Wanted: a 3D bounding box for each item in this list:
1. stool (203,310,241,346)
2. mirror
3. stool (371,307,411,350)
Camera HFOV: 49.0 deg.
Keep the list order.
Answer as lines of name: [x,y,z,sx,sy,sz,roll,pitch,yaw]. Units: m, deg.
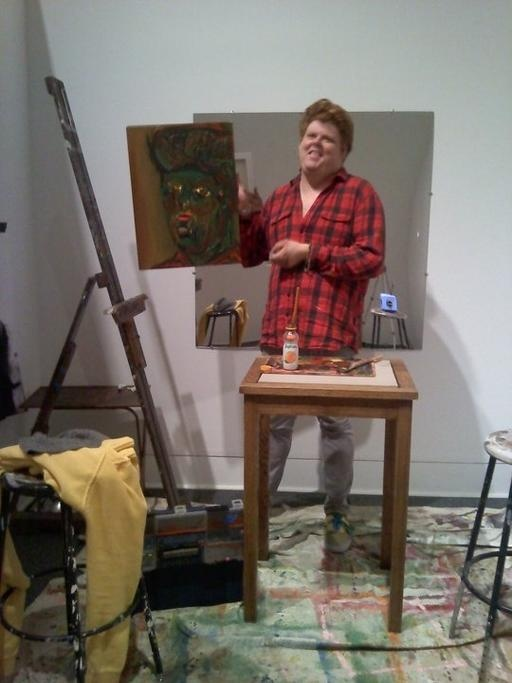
stool: [-0.147,-0.074,2.791,0.186,0.187,0.166,1,9,11]
mirror: [0.271,-0.511,2.356,1.118,1.059,0.046,0,3,0]
stool: [0.622,-0.079,2.666,0.181,0.204,0.202,-9,11,-44]
